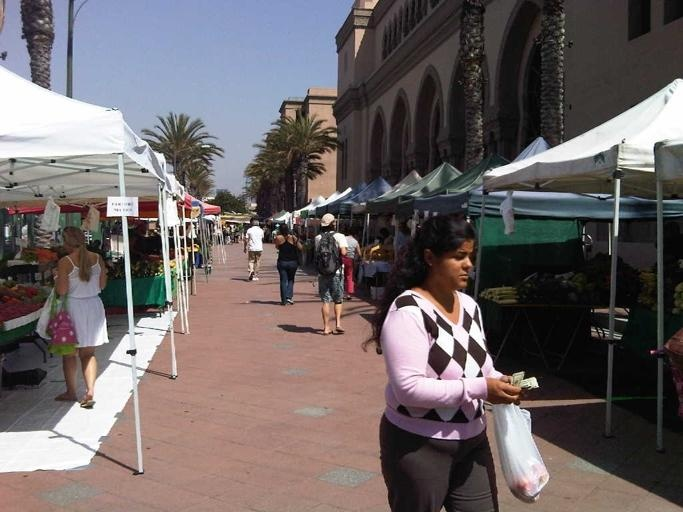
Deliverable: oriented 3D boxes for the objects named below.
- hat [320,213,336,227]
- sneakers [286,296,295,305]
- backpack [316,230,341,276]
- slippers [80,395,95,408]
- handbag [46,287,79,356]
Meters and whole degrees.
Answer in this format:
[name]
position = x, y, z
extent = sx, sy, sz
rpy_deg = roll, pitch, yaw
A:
[hat]
position = -0.259, -0.654, 10.467
extent = 0.226, 0.237, 0.475
rpy_deg = 0, 4, -2
[sneakers]
position = -1.310, 1.150, 14.636
extent = 0.096, 0.115, 0.265
rpy_deg = 3, 8, 19
[backpack]
position = -0.239, 0.013, 10.131
extent = 0.424, 0.643, 0.651
rpy_deg = 0, 2, -1
[slippers]
position = -2.942, 1.678, 6.594
extent = 0.149, 0.149, 0.148
rpy_deg = -2, 5, -25
[handbag]
position = -3.182, 0.804, 6.463
extent = 0.300, 0.710, 0.195
rpy_deg = 1, 4, 17
